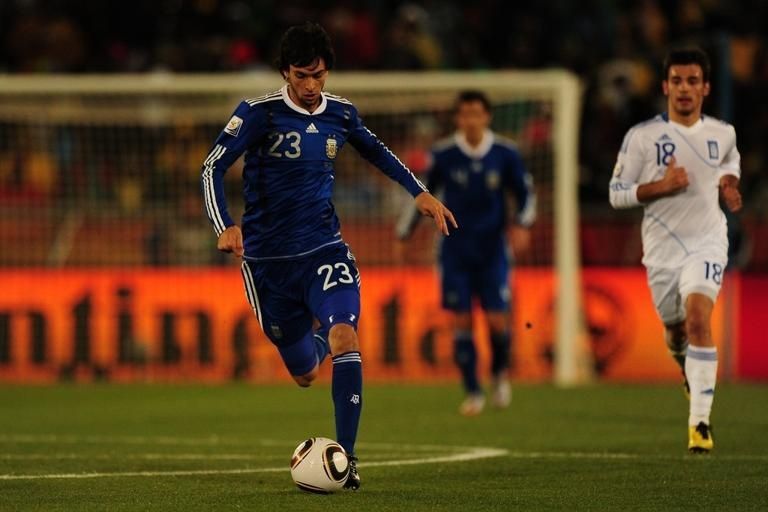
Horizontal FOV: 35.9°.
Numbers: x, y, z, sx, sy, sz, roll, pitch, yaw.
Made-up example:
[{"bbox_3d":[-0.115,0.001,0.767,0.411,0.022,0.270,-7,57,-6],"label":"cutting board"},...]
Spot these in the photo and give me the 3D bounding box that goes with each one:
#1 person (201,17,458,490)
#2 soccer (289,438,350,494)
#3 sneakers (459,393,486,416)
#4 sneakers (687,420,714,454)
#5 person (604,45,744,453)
[{"bbox_3d":[-0.618,-0.004,9.367,1.612,3.562,1.015,-1,-1,-2],"label":"person"},{"bbox_3d":[-0.523,1.564,8.943,0.433,0.390,0.391,12,-25,-15],"label":"soccer"},{"bbox_3d":[0.884,1.533,12.252,0.161,0.227,0.236,0,-2,-43],"label":"sneakers"},{"bbox_3d":[2.534,1.469,9.563,0.174,0.257,0.176,-1,-1,16],"label":"sneakers"},{"bbox_3d":[2.448,-0.060,9.906,0.987,3.313,0.741,-1,-1,15],"label":"person"}]
